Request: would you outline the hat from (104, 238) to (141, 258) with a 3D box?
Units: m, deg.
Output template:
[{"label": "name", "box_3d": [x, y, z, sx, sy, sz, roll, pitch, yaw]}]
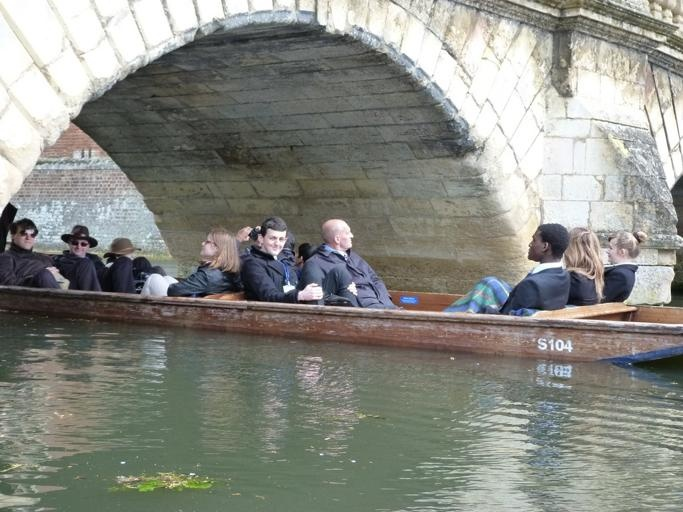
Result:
[{"label": "hat", "box_3d": [-2.163, -0.074, 6.962, 0.400, 0.095, 0.253, -7, 5, -3]}]

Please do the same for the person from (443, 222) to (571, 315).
[{"label": "person", "box_3d": [1.307, 0.117, 5.413, 0.646, 0.730, 0.753, -5, 13, -28]}]

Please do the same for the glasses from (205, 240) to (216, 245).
[{"label": "glasses", "box_3d": [-1.101, -0.111, 6.084, 0.084, 0.046, 0.019, -1, -6, 13]}]
